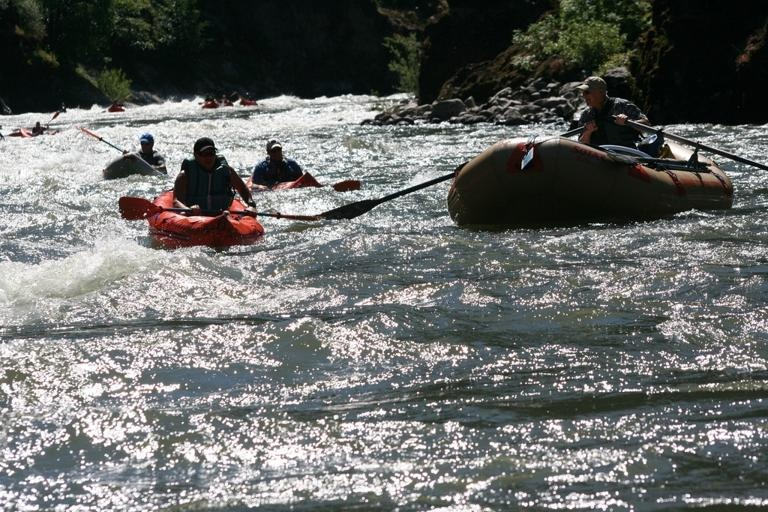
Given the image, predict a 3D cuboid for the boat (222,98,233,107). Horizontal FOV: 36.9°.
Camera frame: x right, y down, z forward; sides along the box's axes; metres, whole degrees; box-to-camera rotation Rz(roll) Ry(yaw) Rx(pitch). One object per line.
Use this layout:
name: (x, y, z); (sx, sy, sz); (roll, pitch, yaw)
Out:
boat: (-6.724, -6.460, 49.172); (0.561, 0.216, 0.645); (2, 16, -8)

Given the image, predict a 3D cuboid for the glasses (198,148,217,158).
glasses: (-2.648, -1.537, 17.231); (0.257, 0.152, 0.069); (-22, 28, -27)

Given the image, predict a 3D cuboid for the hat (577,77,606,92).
hat: (3.143, -2.595, 17.291); (0.331, 0.234, 0.396); (-2, 24, 15)

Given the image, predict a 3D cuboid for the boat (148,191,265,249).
boat: (-2.647, -0.361, 16.432); (1.586, 0.496, 0.701); (-2, 25, 13)

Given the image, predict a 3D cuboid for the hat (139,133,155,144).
hat: (-4.418, -2.129, 21.314); (0.216, 0.220, 0.234); (-13, 25, -5)

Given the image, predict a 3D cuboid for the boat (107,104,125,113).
boat: (-10.245, -5.651, 43.980); (0.763, 0.270, 0.874); (-1, 0, -3)
